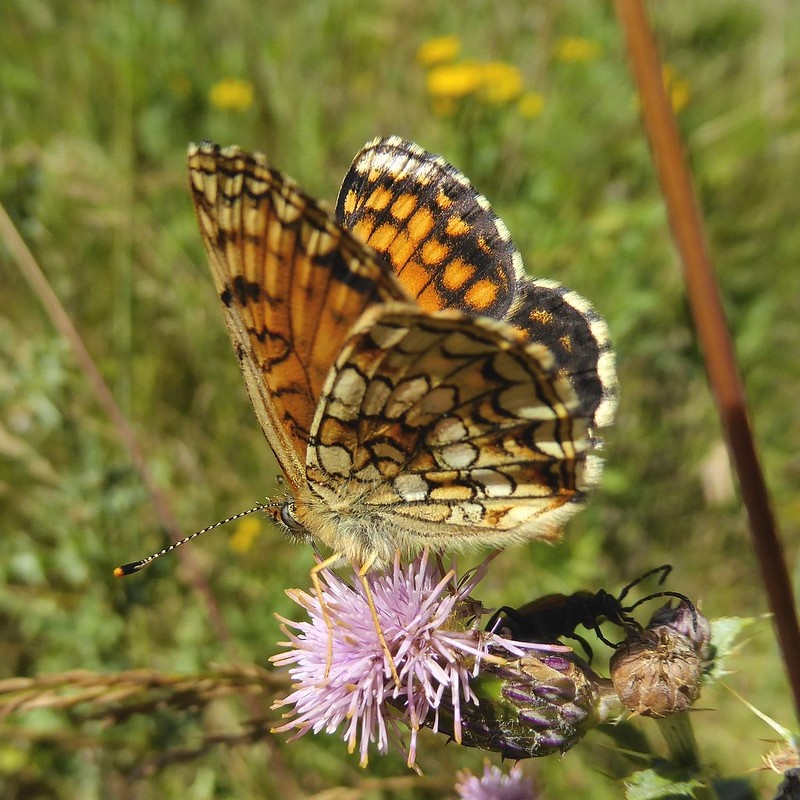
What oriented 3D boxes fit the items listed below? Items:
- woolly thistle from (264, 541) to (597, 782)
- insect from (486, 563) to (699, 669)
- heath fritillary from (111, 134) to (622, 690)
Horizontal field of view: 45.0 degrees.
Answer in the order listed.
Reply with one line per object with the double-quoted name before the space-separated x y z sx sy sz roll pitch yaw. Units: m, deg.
"woolly thistle" 0.110 0.752 2.914 0.992 0.496 0.587 0 83 1
"insect" 0.575 0.642 2.921 0.638 0.418 0.150 -10 87 36
"heath fritillary" 0.013 -0.085 3.241 1.351 1.772 1.988 -9 104 9
